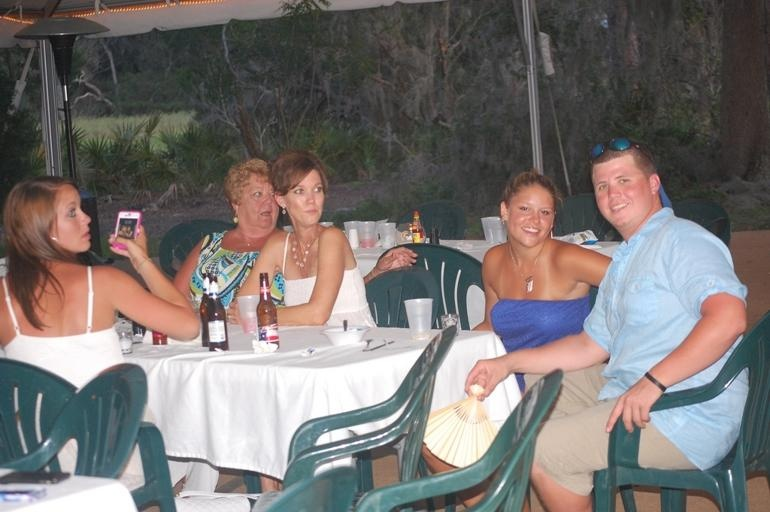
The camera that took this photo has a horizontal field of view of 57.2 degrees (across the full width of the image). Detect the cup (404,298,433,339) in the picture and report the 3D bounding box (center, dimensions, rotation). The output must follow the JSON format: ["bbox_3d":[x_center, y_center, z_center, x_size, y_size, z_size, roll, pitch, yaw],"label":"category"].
[{"bbox_3d":[0.131,0.295,3.328,0.166,0.167,0.164,-2,-4,0],"label":"cup"}]

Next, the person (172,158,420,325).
[{"bbox_3d":[-0.592,-0.094,4.387,0.970,0.608,1.330,-2,-6,10],"label":"person"}]

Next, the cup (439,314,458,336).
[{"bbox_3d":[0.326,0.344,3.506,0.081,0.095,0.083,-2,1,0],"label":"cup"}]

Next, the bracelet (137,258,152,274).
[{"bbox_3d":[-1.169,0.049,3.475,0.071,0.073,0.058,-15,-13,23],"label":"bracelet"}]

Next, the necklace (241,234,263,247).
[{"bbox_3d":[-0.836,-0.099,4.540,0.066,0.067,0.083,3,3,-41],"label":"necklace"}]

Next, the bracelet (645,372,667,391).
[{"bbox_3d":[1.007,0.470,2.654,0.069,0.017,0.067,41,-7,12],"label":"bracelet"}]

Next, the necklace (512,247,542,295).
[{"bbox_3d":[0.710,0.082,3.620,0.141,0.190,0.047,1,-8,30],"label":"necklace"}]

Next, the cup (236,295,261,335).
[{"bbox_3d":[-0.650,0.298,3.571,0.173,0.190,0.174,-1,-3,0],"label":"cup"}]

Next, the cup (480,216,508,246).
[{"bbox_3d":[0.956,-0.221,6.313,0.254,0.226,0.243,-1,0,0],"label":"cup"}]

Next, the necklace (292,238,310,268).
[{"bbox_3d":[-0.468,-0.018,3.934,0.042,0.136,0.136,-14,13,-37],"label":"necklace"}]
